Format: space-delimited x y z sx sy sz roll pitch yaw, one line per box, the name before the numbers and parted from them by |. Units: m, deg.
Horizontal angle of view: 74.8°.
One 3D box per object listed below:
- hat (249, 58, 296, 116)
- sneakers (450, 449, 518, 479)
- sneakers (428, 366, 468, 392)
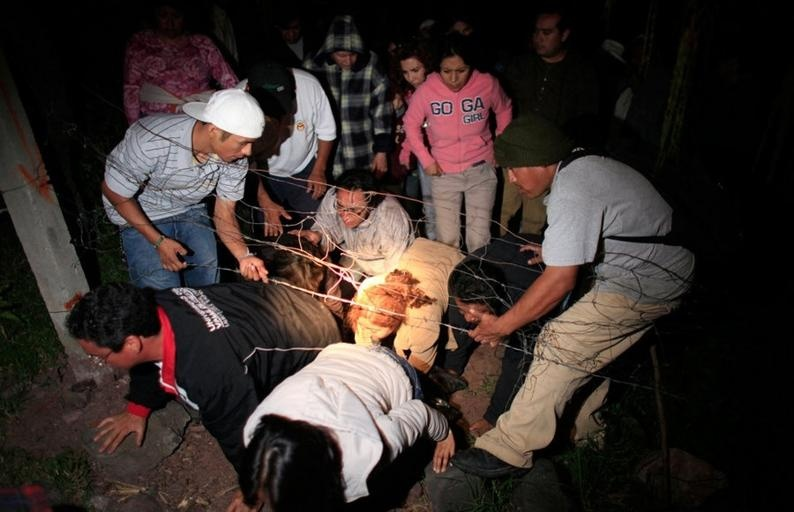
hat | -1.283 -1.624 5.364 0.455 0.587 0.358 -15 -8 -6
sneakers | 0.799 1.850 4.682 0.507 0.148 0.294 -2 -5 2
sneakers | 0.536 1.321 5.581 0.410 0.126 0.234 17 25 -16
